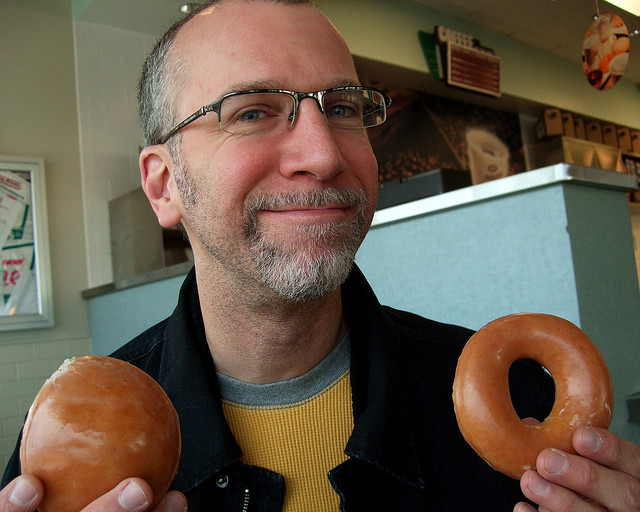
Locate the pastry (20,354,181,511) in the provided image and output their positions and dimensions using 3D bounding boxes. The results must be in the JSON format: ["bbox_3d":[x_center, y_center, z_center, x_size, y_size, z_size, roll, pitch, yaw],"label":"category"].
[{"bbox_3d":[-0.326,0.262,0.820,0.210,0.236,0.086,-3,1,5],"label":"pastry"}]

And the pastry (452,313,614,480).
[{"bbox_3d":[0.347,0.222,0.900,0.237,0.204,0.121,-4,1,-15],"label":"pastry"}]

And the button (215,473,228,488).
[{"bbox_3d":[-0.192,0.439,1.086,0.024,0.028,0.002,-3,1,9],"label":"button"}]

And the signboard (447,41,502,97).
[{"bbox_3d":[1.220,-1.439,4.277,0.696,0.319,0.072,-5,2,-39],"label":"signboard"}]

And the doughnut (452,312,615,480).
[{"bbox_3d":[0.363,0.219,0.934,0.249,0.279,0.100,-11,-38,17],"label":"doughnut"}]
